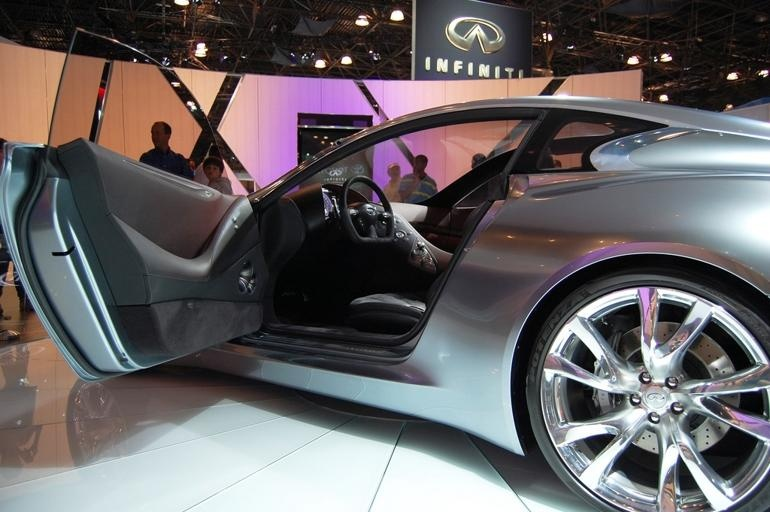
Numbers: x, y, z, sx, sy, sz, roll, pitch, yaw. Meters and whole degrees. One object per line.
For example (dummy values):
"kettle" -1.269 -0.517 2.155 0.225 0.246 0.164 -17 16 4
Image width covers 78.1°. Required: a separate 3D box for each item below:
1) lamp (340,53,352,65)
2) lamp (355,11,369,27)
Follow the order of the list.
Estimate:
"lamp" -1.207 -5.990 14.436 0.420 0.249 0.425 1 3 3
"lamp" -0.639 -6.006 12.018 0.418 0.263 0.423 3 8 21
